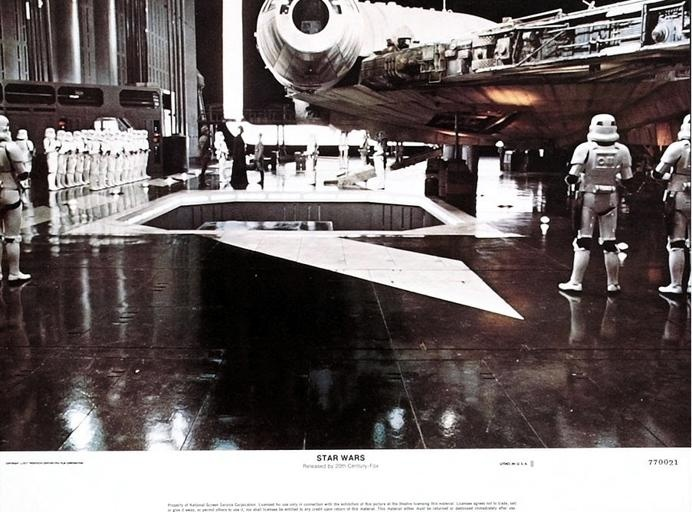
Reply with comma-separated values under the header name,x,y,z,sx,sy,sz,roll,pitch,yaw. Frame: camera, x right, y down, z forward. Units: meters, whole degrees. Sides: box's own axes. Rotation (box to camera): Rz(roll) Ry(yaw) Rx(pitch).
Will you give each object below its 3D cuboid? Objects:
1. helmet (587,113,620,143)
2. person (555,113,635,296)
name,x,y,z,sx,sy,sz,roll,pitch,yaw
helmet,3.160,-1.519,6.580,0.332,0.379,0.415,4,17,11
person,3.066,-0.591,6.666,0.619,2.156,0.917,14,19,43
